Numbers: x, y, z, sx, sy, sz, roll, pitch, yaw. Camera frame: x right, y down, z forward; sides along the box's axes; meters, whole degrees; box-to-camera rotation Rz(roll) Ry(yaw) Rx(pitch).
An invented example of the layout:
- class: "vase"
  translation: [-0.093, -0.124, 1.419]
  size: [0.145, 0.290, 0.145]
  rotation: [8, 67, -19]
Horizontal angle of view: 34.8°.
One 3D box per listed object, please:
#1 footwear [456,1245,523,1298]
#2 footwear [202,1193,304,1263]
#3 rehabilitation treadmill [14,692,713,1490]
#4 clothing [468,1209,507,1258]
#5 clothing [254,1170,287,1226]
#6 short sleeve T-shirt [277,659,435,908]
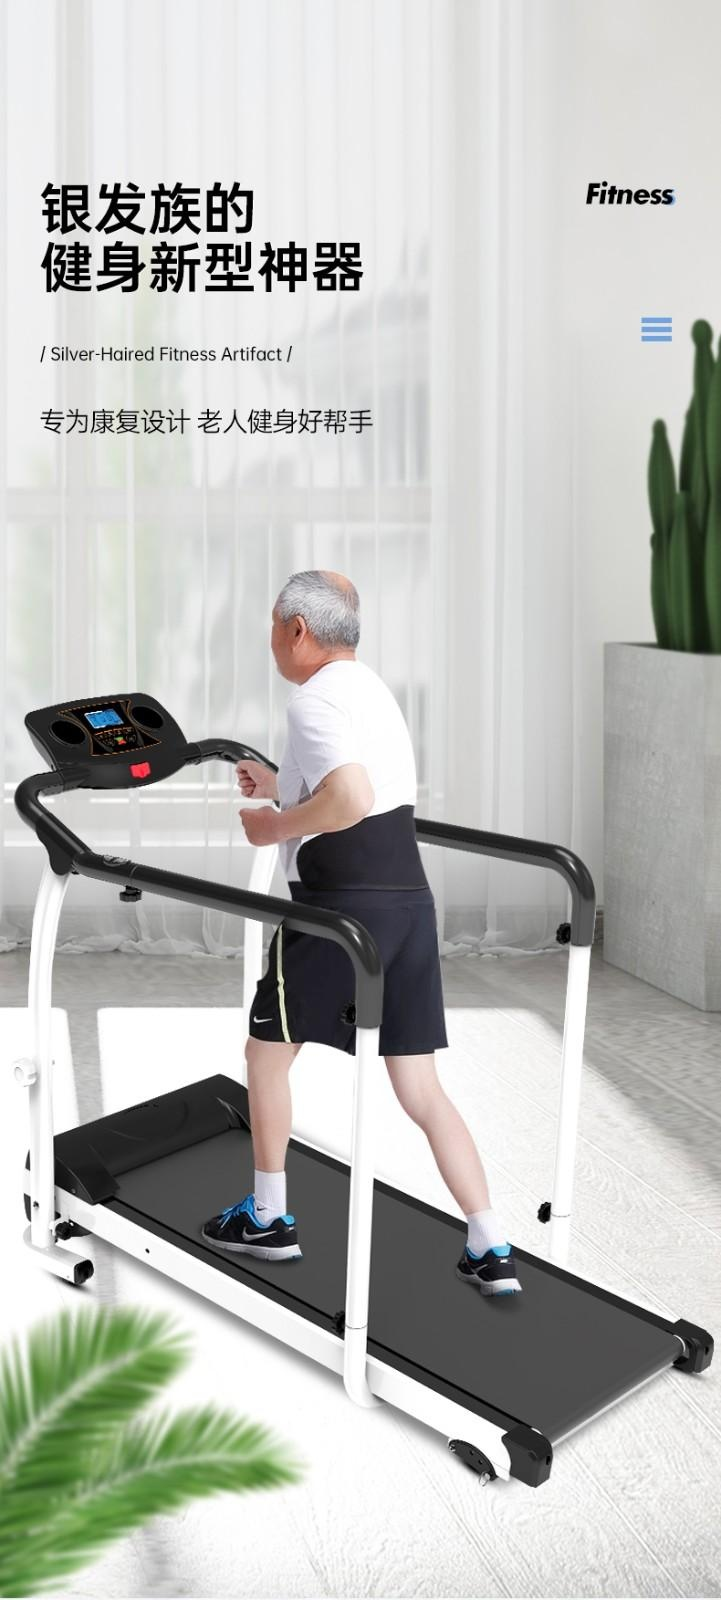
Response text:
- class: "footwear"
  translation: [0.191, 0.680, 1.687]
  size: [0.041, 0.061, 0.111]
  rotation: [1, 2, -22]
- class: "footwear"
  translation: [-0.170, 0.683, 1.852]
  size: [0.180, 0.107, 0.071]
  rotation: [2, -4, 40]
- class: "rehabilitation treadmill"
  translation: [-0.006, 0.328, 1.989]
  size: [0.661, 1.252, 1.324]
  rotation: [-7, 15, -36]
- class: "clothing"
  translation: [0.181, 0.637, 1.684]
  size: [0.035, 0.073, 0.092]
  rotation: [-2, 1, -8]
- class: "clothing"
  translation: [-0.138, 0.602, 1.766]
  size: [0.034, 0.108, 0.093]
  rotation: [-1, 9, -13]
- class: "short sleeve T-shirt"
  translation: [-0.003, -0.046, 1.682]
  size: [0.161, 0.379, 0.309]
  rotation: [3, 19, 22]
